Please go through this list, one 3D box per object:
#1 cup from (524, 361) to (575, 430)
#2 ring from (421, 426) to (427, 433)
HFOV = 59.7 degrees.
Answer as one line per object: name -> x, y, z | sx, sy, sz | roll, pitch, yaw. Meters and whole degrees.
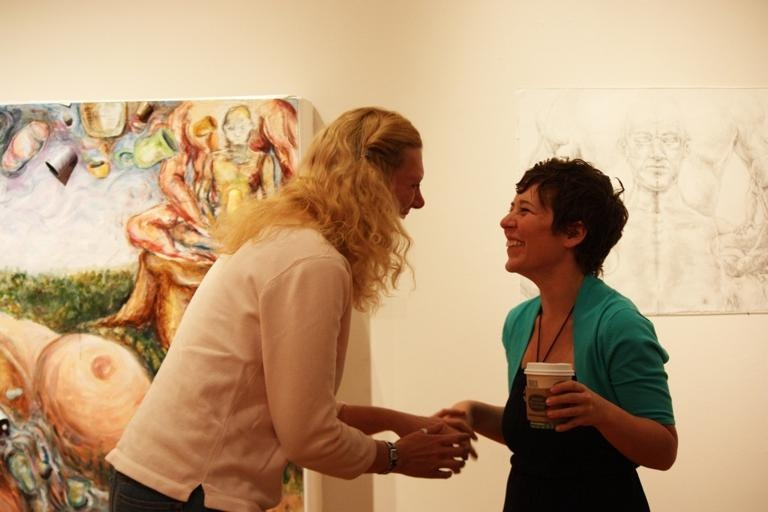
cup -> 0.650, 0.554, 2.644 | 0.209, 0.234, 0.211 | 7, -10, 1
ring -> 0.163, 0.710, 2.742 | 0.017, 0.017, 0.017 | 1, -3, 0
